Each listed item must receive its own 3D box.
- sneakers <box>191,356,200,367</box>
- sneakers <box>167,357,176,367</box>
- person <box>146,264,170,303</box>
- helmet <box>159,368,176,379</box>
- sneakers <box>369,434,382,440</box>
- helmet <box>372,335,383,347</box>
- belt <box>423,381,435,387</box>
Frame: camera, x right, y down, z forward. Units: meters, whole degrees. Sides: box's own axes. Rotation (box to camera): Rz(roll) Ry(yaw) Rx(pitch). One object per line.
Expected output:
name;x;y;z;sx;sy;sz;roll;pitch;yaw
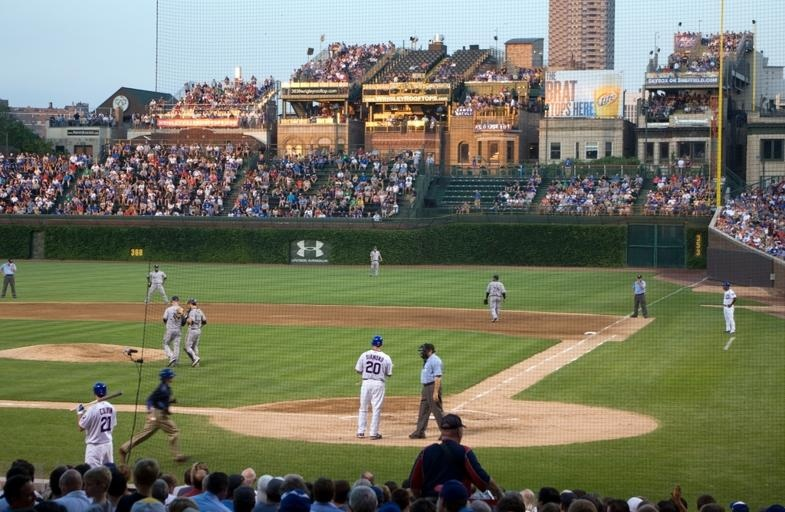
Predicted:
sneakers;-9.487;5.024;80.500;0.193;0.559;0.215;21;21;-28
sneakers;-10.687;5.068;80.641;0.225;0.316;0.698;12;-29;-17
person;-12.906;1.368;91.072;1.102;2.261;0.692;-1;23;-7
helmet;-10.013;5.160;74.147;0.550;0.303;0.403;-6;12;-27
sneakers;-0.715;8.049;75.068;0.553;0.295;0.233;-1;3;0
helmet;-0.604;3.746;75.618;0.351;0.476;0.476;2;10;-3
belt;1.721;5.608;74.908;0.493;0.161;0.086;1;14;5
